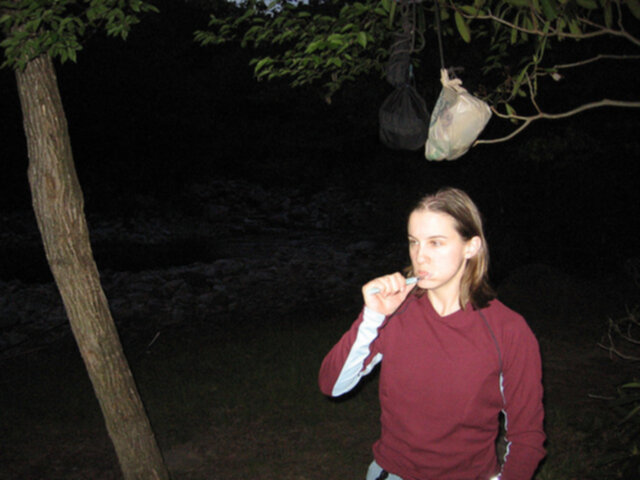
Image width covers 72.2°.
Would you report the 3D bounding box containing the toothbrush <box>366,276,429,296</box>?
[{"bbox_3d":[0.448,0.262,2.519,0.514,0.052,0.068,-8,-28,-28],"label":"toothbrush"}]
